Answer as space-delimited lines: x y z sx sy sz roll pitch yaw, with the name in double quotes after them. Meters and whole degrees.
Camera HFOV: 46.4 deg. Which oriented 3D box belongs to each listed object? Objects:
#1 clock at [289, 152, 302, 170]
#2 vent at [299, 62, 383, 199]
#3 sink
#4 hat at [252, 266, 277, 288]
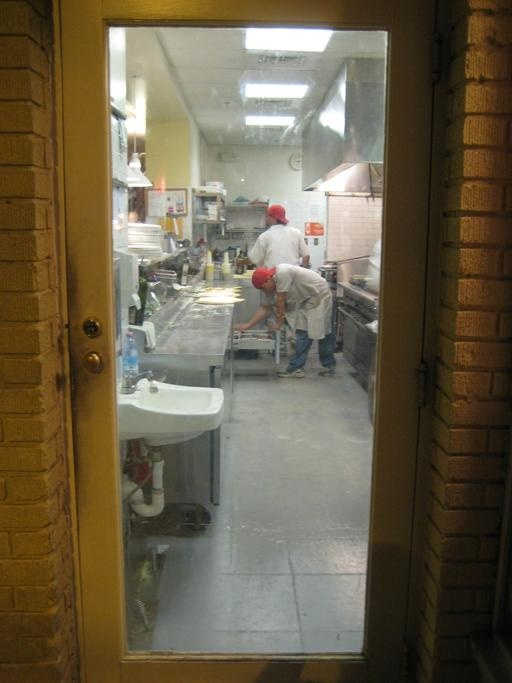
0.097 -0.441 1.468 0.040 0.040 0.009 -11 10 -24 "clock"
0.208 -0.505 1.407 0.083 0.185 0.288 2 5 -3 "vent"
-0.219 0.178 1.524 0.213 0.103 0.164 -2 18 -7 "sink"
0.016 -0.169 1.577 0.034 0.065 0.040 28 13 -32 "hat"
